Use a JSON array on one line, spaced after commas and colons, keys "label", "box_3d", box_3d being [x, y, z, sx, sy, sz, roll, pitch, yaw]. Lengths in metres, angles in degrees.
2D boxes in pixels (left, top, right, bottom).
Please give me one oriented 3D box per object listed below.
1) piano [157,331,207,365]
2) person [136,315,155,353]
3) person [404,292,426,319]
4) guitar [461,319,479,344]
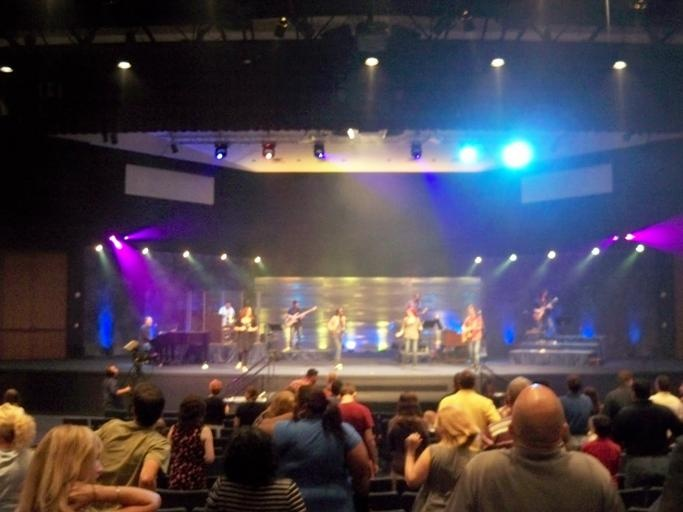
[{"label": "piano", "box_3d": [-4.351, 2.516, 23.557, 1.470, 0.877, 1.157, 0, -8, -11]}, {"label": "person", "box_3d": [-5.206, 2.090, 23.178, 0.509, 0.903, 0.479, 4, 12, -12]}, {"label": "person", "box_3d": [2.144, 1.463, 25.212, 0.538, 0.811, 0.391, -4, 20, 7]}, {"label": "guitar", "box_3d": [3.400, 1.968, 22.858, 0.544, 0.619, 0.348, -6, -9, 29]}]
